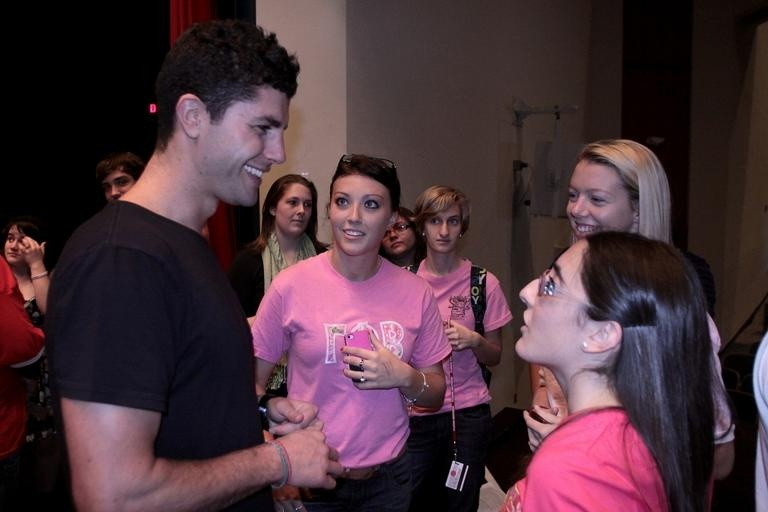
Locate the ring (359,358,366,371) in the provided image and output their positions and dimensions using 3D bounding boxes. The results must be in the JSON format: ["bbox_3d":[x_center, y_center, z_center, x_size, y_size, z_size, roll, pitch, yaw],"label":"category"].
[{"bbox_3d":[-0.095,0.476,2.490,0.028,0.044,0.042,0,2,-24],"label":"ring"}]

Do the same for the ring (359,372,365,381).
[{"bbox_3d":[-0.096,0.527,2.495,0.027,0.031,0.027,0,1,0],"label":"ring"}]

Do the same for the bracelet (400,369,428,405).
[{"bbox_3d":[0.130,0.593,2.683,0.041,0.155,0.129,17,-24,38],"label":"bracelet"}]

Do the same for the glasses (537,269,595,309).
[{"bbox_3d":[0.646,0.128,2.096,0.139,0.043,0.137,30,-4,-24],"label":"glasses"}]

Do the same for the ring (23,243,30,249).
[{"bbox_3d":[-2.240,-0.063,3.611,0.032,0.033,0.010,-9,-7,-9],"label":"ring"}]
